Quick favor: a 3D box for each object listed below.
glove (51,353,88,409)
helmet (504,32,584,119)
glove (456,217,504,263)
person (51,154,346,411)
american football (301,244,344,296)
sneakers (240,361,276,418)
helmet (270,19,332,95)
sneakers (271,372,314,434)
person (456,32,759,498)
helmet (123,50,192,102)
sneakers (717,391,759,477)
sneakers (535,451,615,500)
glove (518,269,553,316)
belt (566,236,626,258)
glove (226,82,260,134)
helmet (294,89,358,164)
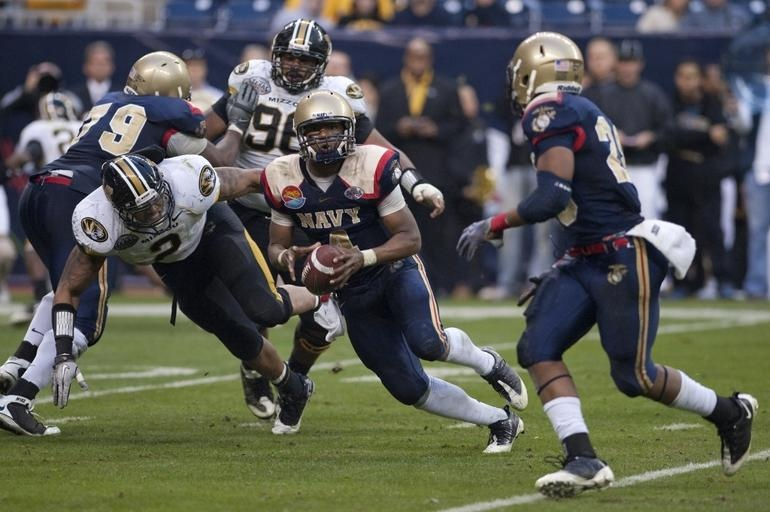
[{"bbox_3d":[-1.780,0.704,6.060,0.280,0.311,0.113,4,-11,-9],"label":"glove"},{"bbox_3d":[0.860,-1.013,5.976,0.389,0.455,0.447,-6,13,-20],"label":"helmet"},{"bbox_3d":[0.505,-0.084,5.826,0.274,0.176,0.089,-35,-26,22],"label":"glove"},{"bbox_3d":[-1.086,0.155,6.515,0.876,1.389,2.519,-9,-7,33],"label":"person"},{"bbox_3d":[-0.358,0.077,6.025,0.222,0.262,0.205,37,21,-24],"label":"american football"},{"bbox_3d":[-0.817,0.868,6.801,0.145,0.420,0.169,-17,-14,-22],"label":"sneakers"},{"bbox_3d":[-0.528,-1.295,6.983,0.376,0.403,0.458,7,39,7],"label":"helmet"},{"bbox_3d":[-0.542,0.920,6.518,0.155,0.434,0.199,4,-19,37],"label":"sneakers"},{"bbox_3d":[1.111,0.158,5.520,1.401,2.003,0.638,0,6,1],"label":"person"},{"bbox_3d":[-1.424,-1.134,6.705,0.381,0.300,0.274,-7,22,-22],"label":"helmet"},{"bbox_3d":[1.864,0.936,5.752,0.189,0.469,0.155,35,-29,-21],"label":"sneakers"},{"bbox_3d":[0.938,1.096,5.295,0.411,0.169,0.196,-4,41,-18],"label":"sneakers"},{"bbox_3d":[0.860,0.220,5.884,0.083,0.275,0.197,44,3,-1],"label":"glove"},{"bbox_3d":[1.116,-0.043,5.637,0.174,0.053,0.130,-17,-4,9],"label":"belt"},{"bbox_3d":[-0.934,-0.961,6.906,0.210,0.351,0.097,7,-31,1],"label":"glove"},{"bbox_3d":[-0.356,-0.762,6.130,0.364,0.383,0.448,-8,16,-12],"label":"helmet"}]
